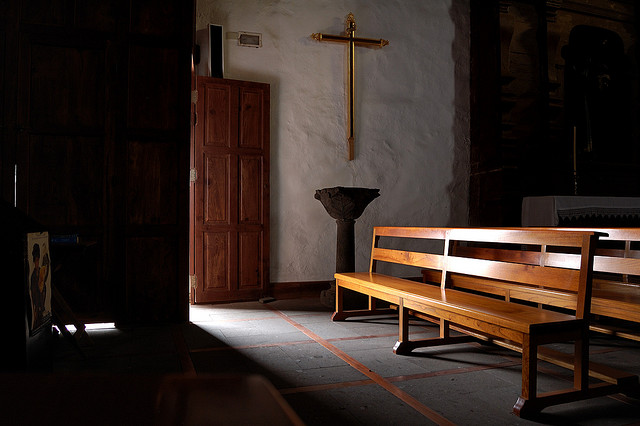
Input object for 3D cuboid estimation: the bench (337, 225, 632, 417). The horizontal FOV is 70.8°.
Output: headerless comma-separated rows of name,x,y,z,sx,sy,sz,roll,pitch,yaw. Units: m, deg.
bench,1.524,0.591,4.045,2.143,1.075,2.628,-1,4,-21
